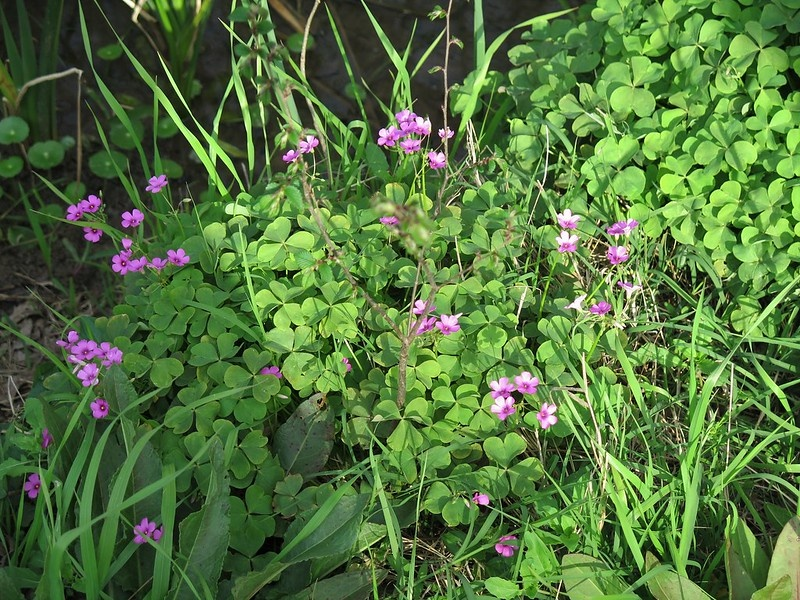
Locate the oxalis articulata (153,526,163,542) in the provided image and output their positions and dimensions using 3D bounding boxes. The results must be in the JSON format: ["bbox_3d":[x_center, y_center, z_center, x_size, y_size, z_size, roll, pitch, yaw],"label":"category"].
[{"bbox_3d":[-0.865,0.836,2.511,0.045,0.017,0.049,-21,41,-15],"label":"oxalis articulata"}]
